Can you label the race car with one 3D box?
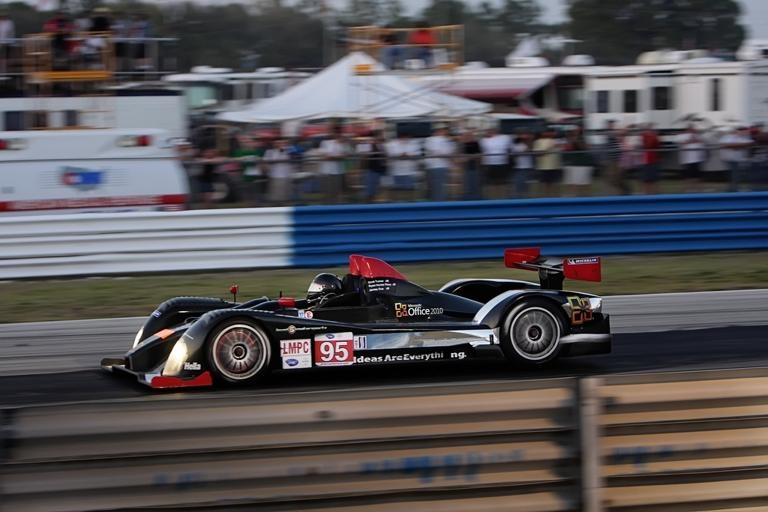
[{"bbox_3d":[-0.192,0.634,15.598,5.386,0.821,2.369,-3,7,-8],"label":"race car"}]
